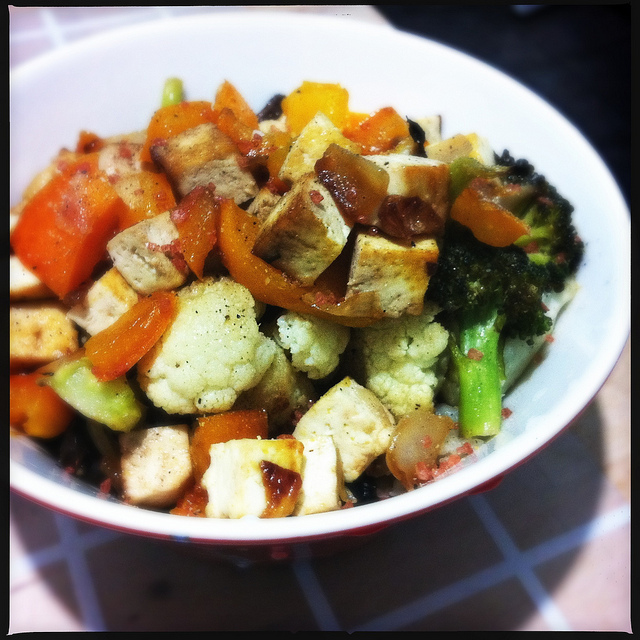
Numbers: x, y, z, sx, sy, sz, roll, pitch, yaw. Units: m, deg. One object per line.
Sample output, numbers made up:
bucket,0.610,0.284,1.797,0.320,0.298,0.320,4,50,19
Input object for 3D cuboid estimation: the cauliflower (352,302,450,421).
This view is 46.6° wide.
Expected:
cauliflower,0.169,0.069,1.650,0.160,0.247,0.209,-12,21,-35

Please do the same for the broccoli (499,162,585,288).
broccoli,0.476,-0.236,1.672,0.078,0.235,0.189,-22,53,-5

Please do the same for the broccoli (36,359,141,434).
broccoli,-0.444,0.151,1.465,0.169,0.050,0.130,20,101,6

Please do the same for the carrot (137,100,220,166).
carrot,-0.312,-0.402,1.645,0.188,0.106,0.136,-5,101,-6

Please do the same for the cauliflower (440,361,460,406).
cauliflower,0.297,0.152,1.672,0.026,0.061,0.080,0,83,-24

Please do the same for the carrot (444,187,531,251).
carrot,0.344,-0.195,1.525,0.176,0.097,0.051,34,26,-13

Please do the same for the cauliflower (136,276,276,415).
cauliflower,-0.236,0.042,1.517,0.263,0.181,0.260,-7,103,-29

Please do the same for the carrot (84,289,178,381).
carrot,-0.372,0.027,1.494,0.239,0.062,0.161,-47,38,-17

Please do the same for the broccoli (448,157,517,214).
broccoli,0.319,-0.262,1.464,0.093,0.053,0.092,-3,106,-17

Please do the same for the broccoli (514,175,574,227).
broccoli,0.495,-0.256,1.617,0.109,0.056,0.126,14,107,43

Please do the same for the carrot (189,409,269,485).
carrot,-0.191,0.234,1.569,0.122,0.160,0.130,-9,23,-23
